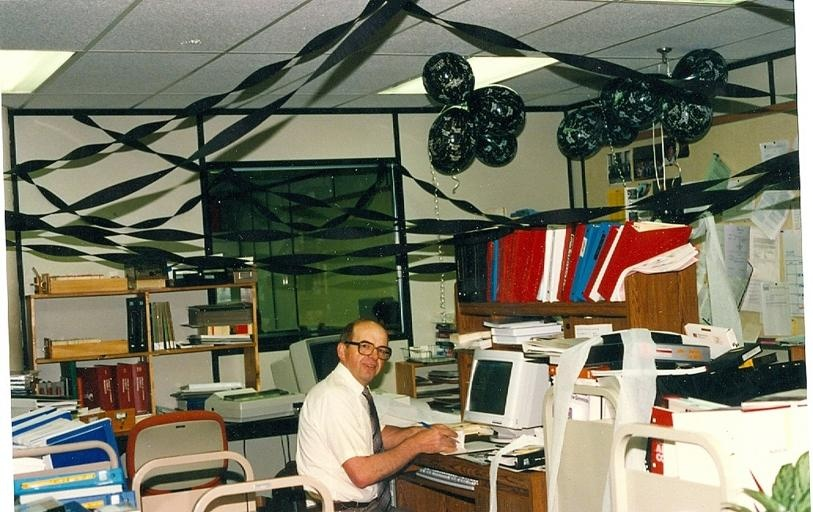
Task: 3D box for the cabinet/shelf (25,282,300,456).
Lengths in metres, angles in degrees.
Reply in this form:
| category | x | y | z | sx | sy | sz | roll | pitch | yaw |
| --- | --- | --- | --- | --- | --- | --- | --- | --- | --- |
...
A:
| category | x | y | z | sx | sy | sz | roll | pitch | yaw |
| --- | --- | --- | --- | --- | --- | --- | --- | --- | --- |
| cabinet/shelf | -2.146 | 0.952 | 6.325 | 1.753 | 1.084 | 0.521 | -2 | -6 | -30 |

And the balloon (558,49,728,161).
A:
| category | x | y | z | sx | sy | sz | roll | pitch | yaw |
| --- | --- | --- | --- | --- | --- | --- | --- | --- | --- |
| balloon | 1.882 | -1.199 | 6.018 | 1.405 | 0.358 | 0.769 | -14 | -27 | 23 |

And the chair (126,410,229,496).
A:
| category | x | y | z | sx | sy | sz | roll | pitch | yaw |
| --- | --- | --- | --- | --- | --- | --- | --- | --- | --- |
| chair | -1.617 | 1.455 | 5.524 | 0.698 | 0.667 | 0.692 | -1 | -8 | -17 |

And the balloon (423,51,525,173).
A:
| category | x | y | z | sx | sy | sz | roll | pitch | yaw |
| --- | --- | --- | --- | --- | --- | --- | --- | --- | --- |
| balloon | 0.531 | -1.103 | 5.838 | 0.751 | 0.804 | 0.955 | -4 | -4 | 2 |

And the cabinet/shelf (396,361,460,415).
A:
| category | x | y | z | sx | sy | sz | roll | pitch | yaw |
| --- | --- | --- | --- | --- | --- | --- | --- | --- | --- |
| cabinet/shelf | 0.198 | 1.171 | 6.988 | 0.505 | 0.390 | 0.277 | -5 | 6 | -34 |

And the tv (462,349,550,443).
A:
| category | x | y | z | sx | sy | sz | roll | pitch | yaw |
| --- | --- | --- | --- | --- | --- | --- | --- | --- | --- |
| tv | 0.731 | 0.967 | 5.160 | 0.402 | 0.562 | 0.656 | 13 | -10 | -23 |

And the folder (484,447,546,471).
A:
| category | x | y | z | sx | sy | sz | roll | pitch | yaw |
| --- | --- | --- | --- | --- | --- | --- | --- | --- | --- |
| folder | 0.657 | 1.207 | 4.421 | 0.263 | 0.059 | 0.238 | -2 | -2 | -25 |

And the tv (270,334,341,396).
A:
| category | x | y | z | sx | sy | sz | roll | pitch | yaw |
| --- | --- | --- | --- | --- | --- | --- | --- | --- | --- |
| tv | -0.901 | 1.008 | 6.979 | 0.603 | 0.381 | 0.603 | -3 | -5 | 44 |
